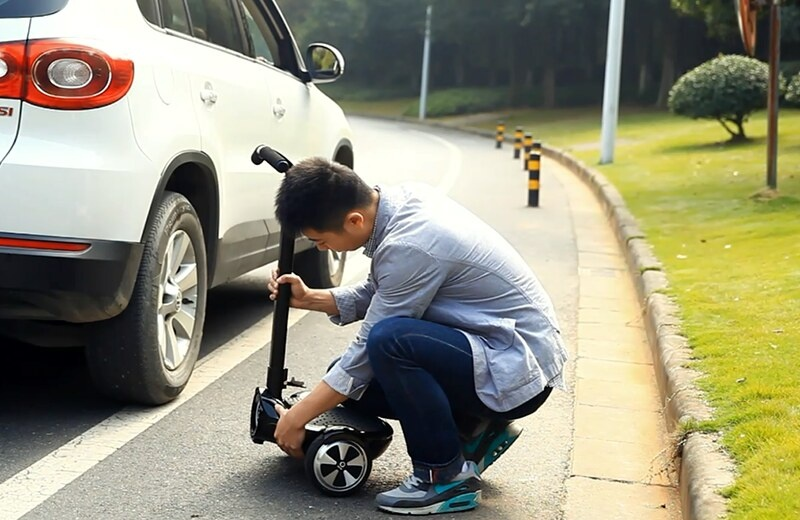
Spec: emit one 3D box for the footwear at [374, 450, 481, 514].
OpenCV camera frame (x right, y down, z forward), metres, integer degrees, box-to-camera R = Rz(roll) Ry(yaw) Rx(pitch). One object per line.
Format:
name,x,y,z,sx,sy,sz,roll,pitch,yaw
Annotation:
footwear,0.158,1.036,3.338,0.579,0.386,0.200,2,-3,-3

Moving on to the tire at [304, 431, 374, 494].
tire,-0.281,0.907,3.201,0.281,0.293,0.118,1,10,-15

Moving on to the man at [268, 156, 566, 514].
man,0.155,0.663,3.647,1.209,0.745,1.205,-22,-8,39

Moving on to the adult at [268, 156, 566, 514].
adult,0.086,0.207,3.493,1.321,1.080,1.201,5,10,37

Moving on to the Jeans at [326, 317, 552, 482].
Jeans,0.164,0.495,3.293,0.800,0.483,0.702,-18,-1,-4

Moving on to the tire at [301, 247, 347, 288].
tire,-0.636,0.066,5.730,0.103,0.312,0.305,-1,5,30
